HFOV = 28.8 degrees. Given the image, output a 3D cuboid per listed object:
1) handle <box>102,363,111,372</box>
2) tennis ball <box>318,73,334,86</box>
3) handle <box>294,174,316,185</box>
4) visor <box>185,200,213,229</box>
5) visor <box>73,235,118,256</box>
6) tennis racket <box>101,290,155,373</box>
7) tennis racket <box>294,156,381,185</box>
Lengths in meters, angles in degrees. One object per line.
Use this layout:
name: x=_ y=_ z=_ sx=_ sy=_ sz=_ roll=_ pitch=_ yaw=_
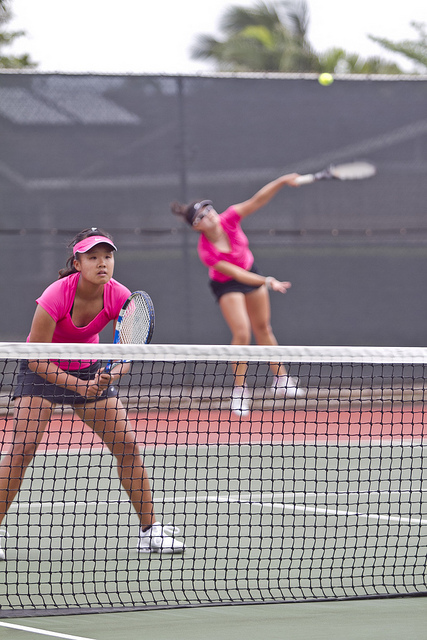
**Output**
handle: x=-0.411 y=0.186 z=3.184 sx=0.015 sy=0.022 sz=0.047 roll=-3 pitch=3 yaw=7
tennis ball: x=0.795 y=-1.724 z=5.918 sx=0.084 sy=0.083 sz=0.082 roll=20 pitch=24 yaw=-10
handle: x=0.617 y=-0.945 z=5.539 sx=0.142 sy=0.062 sz=0.170 roll=2 pitch=8 yaw=19
visor: x=-0.107 y=-0.696 z=5.454 sx=0.043 sy=0.159 sz=0.162 roll=19 pitch=21 yaw=-1
visor: x=-0.462 y=-0.293 z=3.219 sx=0.161 sy=0.080 sz=0.202 roll=-2 pitch=8 yaw=-10
tennis racket: x=-0.326 y=0.046 z=3.193 sx=0.061 sy=0.129 sz=0.435 roll=4 pitch=33 yaw=14
tennis racket: x=0.886 y=-1.059 z=5.829 sx=0.714 sy=0.268 sz=0.097 roll=-9 pitch=7 yaw=-19
